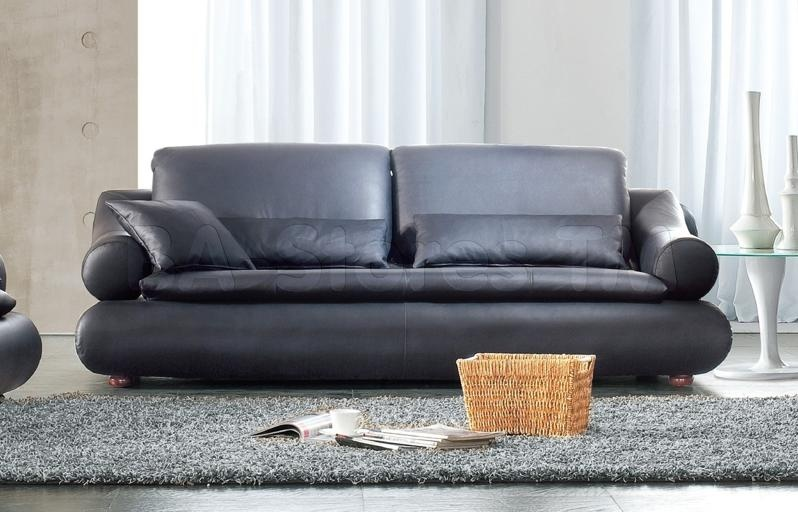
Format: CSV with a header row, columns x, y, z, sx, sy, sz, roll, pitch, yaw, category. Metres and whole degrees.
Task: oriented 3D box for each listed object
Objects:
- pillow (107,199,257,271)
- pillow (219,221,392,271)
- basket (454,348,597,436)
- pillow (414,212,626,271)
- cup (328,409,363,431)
x,y,z,sx,sy,sz,roll,pitch,yaw,category
-1.143,-0.117,4.960,0.727,0.360,0.357,-2,11,-15,pillow
-0.484,-0.093,5.238,0.872,0.272,0.145,2,-19,-3,pillow
0.598,0.625,4.340,0.547,0.288,0.372,-4,-7,25,basket
0.663,-0.106,5.267,1.191,0.242,0.174,0,23,6,pillow
-0.234,0.706,4.114,0.121,0.075,0.091,2,-6,1,cup
